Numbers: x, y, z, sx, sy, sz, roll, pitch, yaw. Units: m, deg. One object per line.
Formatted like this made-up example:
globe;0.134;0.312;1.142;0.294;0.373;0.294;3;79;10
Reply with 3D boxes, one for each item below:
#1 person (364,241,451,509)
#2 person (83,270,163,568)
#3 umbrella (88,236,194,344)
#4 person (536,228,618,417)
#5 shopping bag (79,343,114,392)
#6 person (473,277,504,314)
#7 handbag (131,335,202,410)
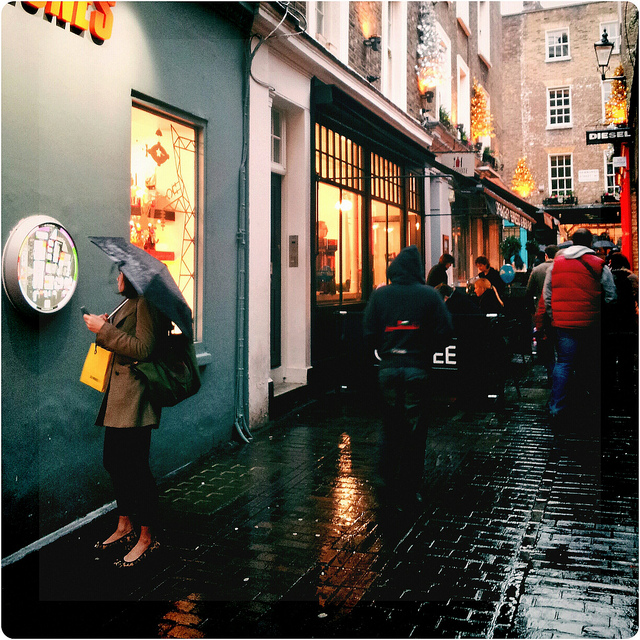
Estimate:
person;0.729;0.452;5.826;0.571;2.097;0.570;-2;3;-25
person;-1.268;0.660;4.684;0.574;1.943;0.462;1;3;17
umbrella;-1.148;-0.198;4.578;0.519;0.700;0.550;3;5;39
person;2.987;0.051;8.255;0.568;2.290;1.220;-1;4;-11
shopping bag;-1.505;0.289;4.664;0.171;0.304;0.088;18;16;-2
person;2.364;-0.351;9.657;0.400;0.443;1.006;1;5;14
handbag;-1.060;0.349;4.673;0.236;0.439;0.503;-13;-45;29
